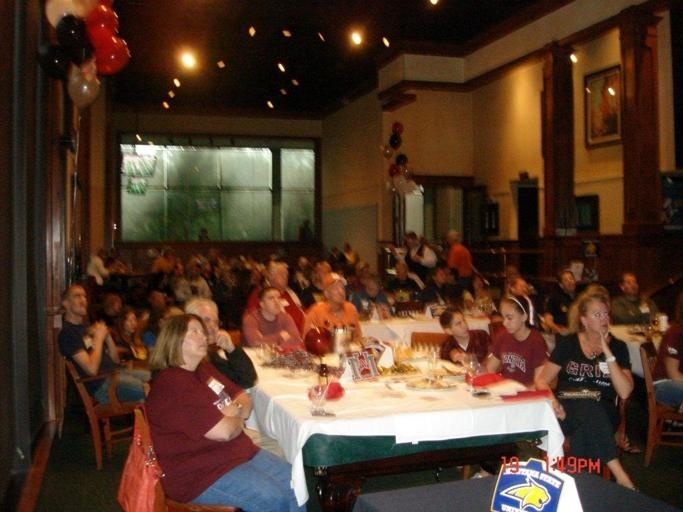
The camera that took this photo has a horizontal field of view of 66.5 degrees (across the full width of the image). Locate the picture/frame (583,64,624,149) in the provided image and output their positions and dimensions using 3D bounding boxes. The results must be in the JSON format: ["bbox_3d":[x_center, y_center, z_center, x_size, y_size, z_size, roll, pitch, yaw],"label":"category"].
[{"bbox_3d":[4.932,-2.792,9.847,0.077,1.602,0.812,-2,0,-21],"label":"picture/frame"}]

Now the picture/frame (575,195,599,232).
[{"bbox_3d":[4.813,-0.800,10.157,0.090,0.724,0.677,0,-2,-14],"label":"picture/frame"}]

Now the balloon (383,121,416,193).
[{"bbox_3d":[1.380,-2.381,12.532,0.683,1.811,1.511,-2,0,5],"label":"balloon"}]

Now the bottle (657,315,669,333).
[{"bbox_3d":[3.297,0.717,5.341,0.123,0.188,0.131,0,-5,0],"label":"bottle"}]
